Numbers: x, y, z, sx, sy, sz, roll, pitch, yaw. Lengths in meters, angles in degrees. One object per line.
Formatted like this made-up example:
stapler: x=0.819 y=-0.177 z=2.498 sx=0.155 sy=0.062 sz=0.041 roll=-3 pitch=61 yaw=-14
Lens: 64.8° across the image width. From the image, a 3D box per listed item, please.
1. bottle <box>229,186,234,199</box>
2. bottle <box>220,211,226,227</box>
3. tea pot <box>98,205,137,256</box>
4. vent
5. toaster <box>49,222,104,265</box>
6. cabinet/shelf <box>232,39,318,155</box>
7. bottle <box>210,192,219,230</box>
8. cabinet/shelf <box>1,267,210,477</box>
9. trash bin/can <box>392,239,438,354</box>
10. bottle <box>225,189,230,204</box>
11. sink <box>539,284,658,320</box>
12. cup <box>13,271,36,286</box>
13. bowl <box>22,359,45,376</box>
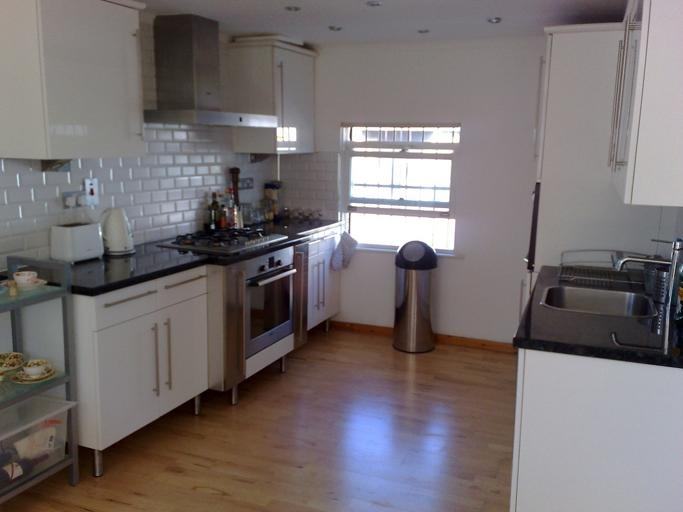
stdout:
bottle: x=-1.017 y=-0.583 z=4.997 sx=0.047 sy=0.118 sz=0.134 roll=-2 pitch=15 yaw=-9
bottle: x=-1.041 y=-0.336 z=4.818 sx=0.022 sy=0.144 sz=0.091 roll=9 pitch=17 yaw=29
tea pot: x=-1.618 y=-0.189 z=3.884 sx=0.228 sy=0.323 sz=0.248 roll=-1 pitch=8 yaw=0
vent: x=-1.040 y=-1.449 z=4.225 sx=0.628 sy=0.807 sz=1.160 roll=5 pitch=16 yaw=12
toaster: x=-1.775 y=-0.093 z=3.643 sx=0.208 sy=0.249 sz=0.300 roll=2 pitch=9 yaw=20
cabinet/shelf: x=-0.613 y=-1.572 z=5.401 sx=0.555 sy=0.993 sz=1.022 roll=6 pitch=15 yaw=25
bottle: x=-1.122 y=-0.405 z=4.766 sx=0.083 sy=0.297 sz=0.130 roll=-3 pitch=15 yaw=-14
cabinet/shelf: x=-1.424 y=0.457 z=4.001 sx=1.064 sy=1.655 sz=1.576 roll=3 pitch=11 yaw=16
trash bin/can: x=0.716 y=0.382 z=5.210 sx=0.385 sy=1.021 sz=0.348 roll=2 pitch=15 yaw=6
bottle: x=-1.037 y=-0.562 z=4.965 sx=0.052 sy=0.139 sz=0.071 roll=-2 pitch=15 yaw=-11
sink: x=1.492 y=0.265 z=3.083 sx=0.376 sy=0.128 sz=0.236 roll=4 pitch=12 yaw=14
cup: x=-1.785 y=0.116 z=3.069 sx=0.089 sy=0.055 sz=0.094 roll=2 pitch=14 yaw=-1
bowl: x=-1.749 y=0.632 z=3.086 sx=0.091 sy=0.046 sz=0.075 roll=3 pitch=5 yaw=-10
